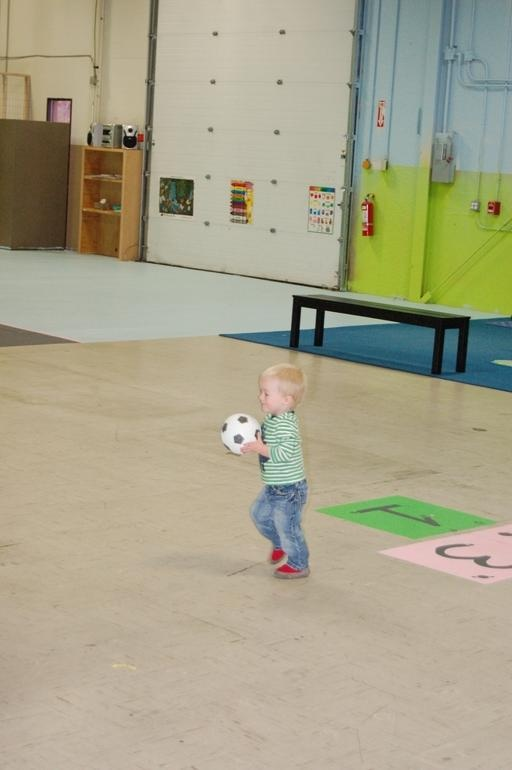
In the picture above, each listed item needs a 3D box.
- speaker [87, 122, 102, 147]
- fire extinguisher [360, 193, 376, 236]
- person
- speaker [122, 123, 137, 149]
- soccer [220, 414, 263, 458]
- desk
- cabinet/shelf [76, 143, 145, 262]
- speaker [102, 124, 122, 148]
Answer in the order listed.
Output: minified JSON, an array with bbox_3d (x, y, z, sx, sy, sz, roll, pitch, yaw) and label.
[{"bbox_3d":[-3.101,-4.784,13.520,0.156,0.457,0.381,-3,15,-34],"label":"speaker"},{"bbox_3d":[1.750,-2.646,11.036,0.253,0.670,0.185,12,14,26],"label":"fire extinguisher"},{"bbox_3d":[0.087,0.295,2.288,0.277,0.726,0.198,5,13,-2],"label":"person"},{"bbox_3d":[-2.384,-4.653,13.277,0.266,0.414,0.158,2,13,-17],"label":"speaker"},{"bbox_3d":[-0.069,0.153,2.278,0.130,0.138,0.127,4,14,22],"label":"soccer"},{"bbox_3d":[1.191,-0.529,6.929,1.833,0.557,0.773,13,14,32],"label":"desk"},{"bbox_3d":[-2.869,-3.516,13.723,1.341,2.096,0.582,14,15,34],"label":"cabinet/shelf"},{"bbox_3d":[-2.733,-4.693,13.358,0.427,0.458,0.189,14,15,34],"label":"speaker"}]
